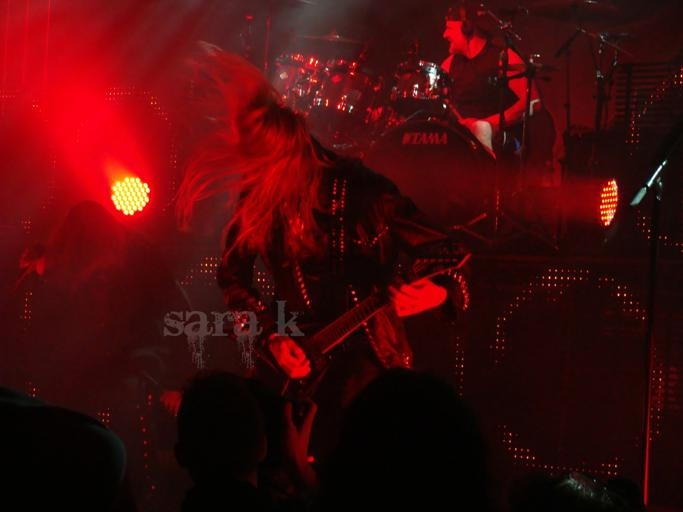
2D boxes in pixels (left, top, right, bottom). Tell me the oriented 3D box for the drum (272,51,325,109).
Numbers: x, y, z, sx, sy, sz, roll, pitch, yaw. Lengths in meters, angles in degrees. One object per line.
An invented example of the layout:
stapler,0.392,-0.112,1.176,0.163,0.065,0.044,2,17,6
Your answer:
drum,-0.239,-1.015,3.963,0.304,0.311,0.124,24,19,15

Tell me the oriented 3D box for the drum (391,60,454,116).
drum,0.450,-0.948,3.854,0.341,0.268,0.129,3,-16,1

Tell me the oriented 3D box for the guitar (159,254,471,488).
guitar,-0.093,0.581,4.042,1.752,0.760,0.185,-36,7,12

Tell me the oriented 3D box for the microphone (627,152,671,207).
microphone,1.711,-0.436,3.857,0.059,0.322,0.058,8,28,-41

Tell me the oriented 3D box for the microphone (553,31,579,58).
microphone,1.277,-1.204,3.882,0.145,0.150,0.026,-5,-18,27
